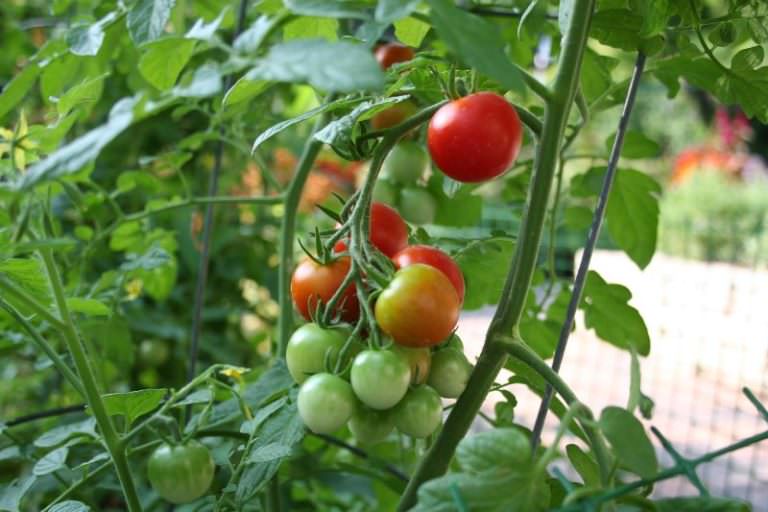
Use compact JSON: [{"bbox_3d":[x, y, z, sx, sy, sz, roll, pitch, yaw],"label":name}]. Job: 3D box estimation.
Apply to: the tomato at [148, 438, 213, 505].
[{"bbox_3d":[-0.263,0.273,0.962,0.077,0.097,0.076,-10,-6,-20],"label":"tomato"}]
